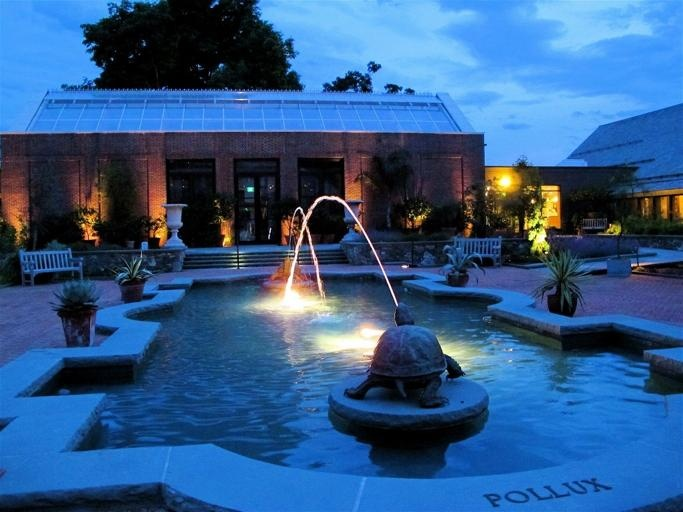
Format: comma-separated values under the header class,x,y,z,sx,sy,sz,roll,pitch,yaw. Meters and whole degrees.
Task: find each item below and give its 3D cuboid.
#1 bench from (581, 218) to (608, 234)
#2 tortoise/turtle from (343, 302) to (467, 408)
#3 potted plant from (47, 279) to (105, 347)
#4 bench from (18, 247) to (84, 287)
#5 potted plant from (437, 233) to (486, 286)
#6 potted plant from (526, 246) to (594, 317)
class,x,y,z,sx,sy,sz,roll,pitch,yaw
bench,13.399,-1.620,27.384,1.122,0.483,1.088,0,2,26
tortoise/turtle,0.654,1.059,5.600,1.104,0.826,0.890,-1,4,21
potted plant,-3.887,0.804,7.773,1.035,1.080,0.998,0,-3,-18
bench,-8.216,0.303,14.696,0.530,0.776,1.524,9,7,28
potted plant,3.016,0.227,12.679,1.275,1.443,1.074,-1,9,-15
potted plant,3.775,0.463,8.795,0.944,1.172,0.931,4,6,21
